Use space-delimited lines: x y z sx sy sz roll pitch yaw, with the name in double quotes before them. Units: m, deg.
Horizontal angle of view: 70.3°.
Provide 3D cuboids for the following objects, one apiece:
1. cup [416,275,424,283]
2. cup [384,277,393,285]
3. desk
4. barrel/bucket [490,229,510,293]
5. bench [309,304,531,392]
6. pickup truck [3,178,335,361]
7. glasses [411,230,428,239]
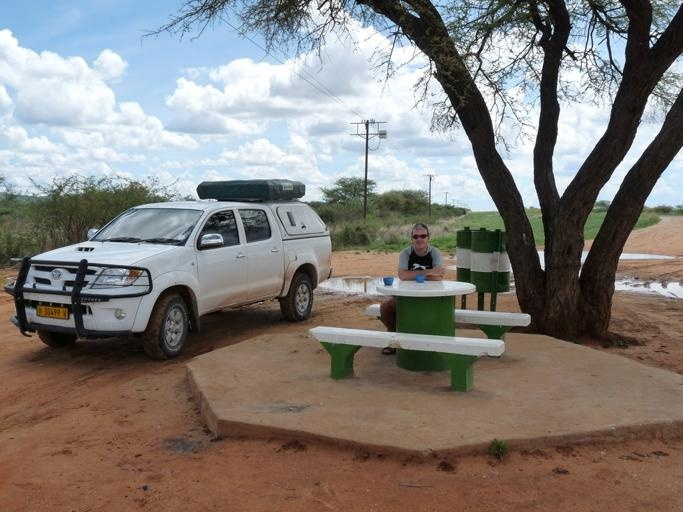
"cup" 1.031 0.304 6.426 0.089 0.068 0.104 0 -3 6
"cup" 0.600 0.325 6.214 0.106 0.065 0.098 -2 7 0
"desk" 1.110 0.809 6.478 1.083 0.773 1.040 -5 7 -17
"barrel/bucket" 2.820 0.111 8.594 0.279 1.145 0.656 -1 7 18
"bench" 0.809 1.097 6.053 1.655 0.372 1.511 -1 2 22
"pickup truck" -2.690 -0.080 9.501 3.114 2.578 6.064 0 1 31
"glasses" 1.147 -0.288 7.089 0.239 0.094 0.196 -2 7 5
